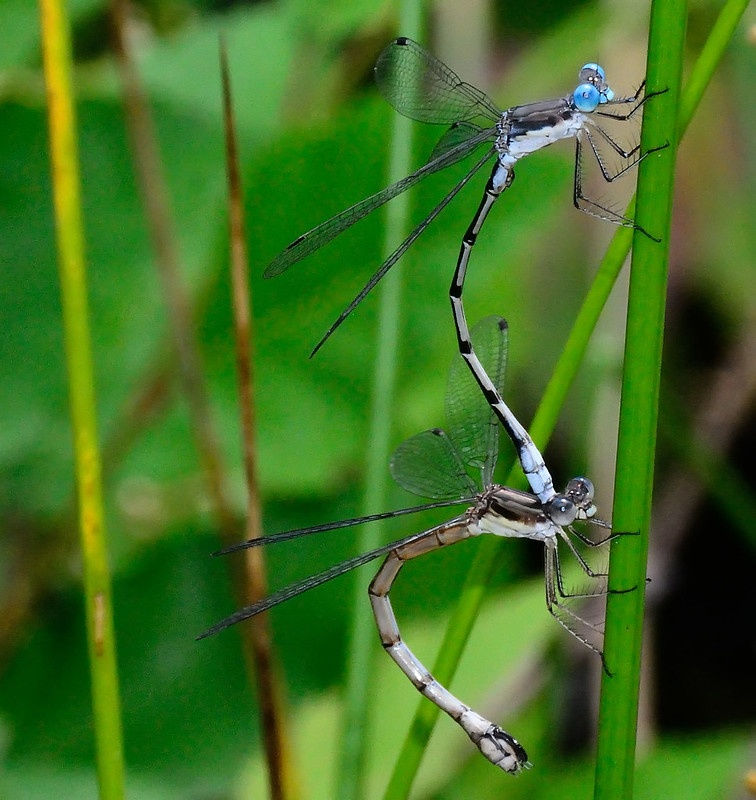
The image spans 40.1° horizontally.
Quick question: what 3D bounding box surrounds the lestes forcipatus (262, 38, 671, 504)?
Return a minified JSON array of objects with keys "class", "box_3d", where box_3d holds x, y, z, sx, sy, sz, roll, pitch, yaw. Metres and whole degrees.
[{"class":"lestes forcipatus","box_3d":[0.221,-0.263,1.524,0.630,0.548,0.172,-47,-57,2]}]
